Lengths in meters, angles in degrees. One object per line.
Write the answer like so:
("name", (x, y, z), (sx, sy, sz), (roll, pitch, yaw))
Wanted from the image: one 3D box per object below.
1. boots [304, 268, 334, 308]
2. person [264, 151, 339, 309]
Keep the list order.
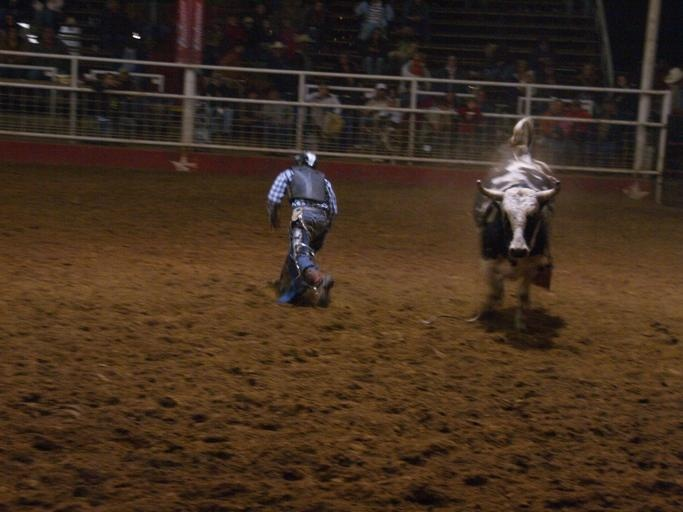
("boots", (-0.263, 0.366, 9.037), (0.361, 0.425, 0.455), (6, 16, 23))
("person", (-0.464, -0.342, 9.298), (0.804, 1.733, 1.030), (5, 9, -4))
